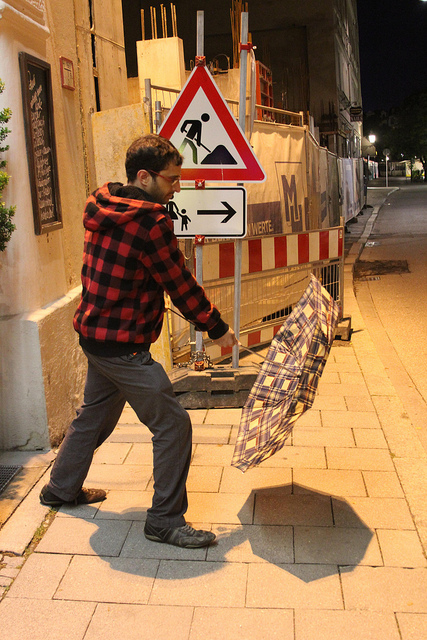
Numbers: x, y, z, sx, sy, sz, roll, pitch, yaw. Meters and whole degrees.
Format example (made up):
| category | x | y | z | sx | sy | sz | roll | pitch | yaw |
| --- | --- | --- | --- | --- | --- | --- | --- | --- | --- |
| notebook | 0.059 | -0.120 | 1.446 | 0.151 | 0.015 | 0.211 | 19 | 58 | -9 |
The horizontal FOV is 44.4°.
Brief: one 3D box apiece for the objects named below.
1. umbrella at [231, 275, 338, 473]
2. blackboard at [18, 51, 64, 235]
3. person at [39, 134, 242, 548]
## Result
| category | x | y | z | sx | sy | sz | roll | pitch | yaw |
| --- | --- | --- | --- | --- | --- | --- | --- | --- | --- |
| umbrella | 0.324 | 0.224 | 2.374 | 0.459 | 0.838 | 0.401 | 0 | 6 | 13 |
| blackboard | -1.161 | -1.175 | 3.523 | 0.134 | 1.194 | 0.636 | -2 | 6 | -8 |
| person | -0.402 | 0.097 | 2.440 | 0.783 | 1.847 | 0.495 | 3 | 7 | 38 |
